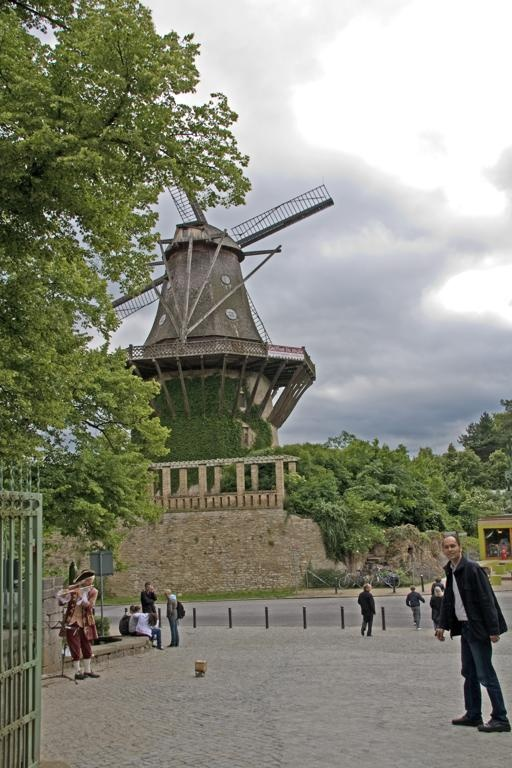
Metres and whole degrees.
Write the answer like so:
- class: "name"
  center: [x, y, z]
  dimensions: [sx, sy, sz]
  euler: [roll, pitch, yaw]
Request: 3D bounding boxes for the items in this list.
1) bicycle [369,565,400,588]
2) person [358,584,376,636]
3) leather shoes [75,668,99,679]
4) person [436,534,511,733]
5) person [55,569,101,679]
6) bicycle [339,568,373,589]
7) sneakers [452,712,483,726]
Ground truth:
- class: "bicycle"
  center: [6.329, 9.637, 34.242]
  dimensions: [1.383, 0.740, 0.654]
  euler: [-6, -5, 20]
- class: "person"
  center: [2.613, 5.347, 16.474]
  dimensions: [0.366, 1.268, 1.256]
  euler: [-6, -10, 6]
- class: "leather shoes"
  center: [-2.629, 4.552, 10.890]
  dimensions: [0.392, 0.145, 0.133]
  euler: [1, -15, -3]
- class: "person"
  center: [1.978, 2.279, 6.345]
  dimensions: [0.595, 1.735, 0.781]
  euler: [-6, -11, 4]
- class: "person"
  center: [-2.747, 3.755, 10.704]
  dimensions: [0.580, 1.673, 0.904]
  euler: [-2, -11, -14]
- class: "bicycle"
  center: [4.932, 9.541, 34.144]
  dimensions: [1.437, 0.871, 2.533]
  euler: [-7, -10, 13]
- class: "sneakers"
  center: [1.924, 3.063, 6.314]
  dimensions: [0.309, 0.123, 0.103]
  euler: [1, -14, 15]
